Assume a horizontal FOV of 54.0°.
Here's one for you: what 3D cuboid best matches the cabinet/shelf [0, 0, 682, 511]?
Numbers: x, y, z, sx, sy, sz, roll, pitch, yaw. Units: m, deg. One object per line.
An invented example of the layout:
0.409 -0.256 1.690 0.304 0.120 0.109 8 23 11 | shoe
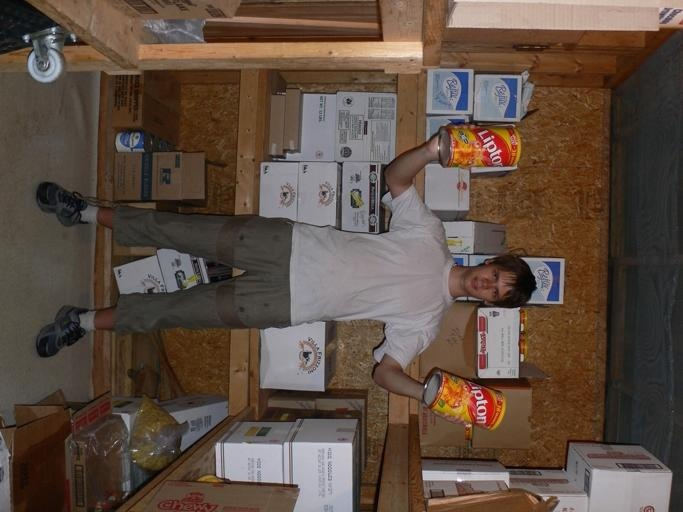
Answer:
0.025 -0.183 4.251 4.006 1.508 2.723 12 85 2 | cabinet/shelf
